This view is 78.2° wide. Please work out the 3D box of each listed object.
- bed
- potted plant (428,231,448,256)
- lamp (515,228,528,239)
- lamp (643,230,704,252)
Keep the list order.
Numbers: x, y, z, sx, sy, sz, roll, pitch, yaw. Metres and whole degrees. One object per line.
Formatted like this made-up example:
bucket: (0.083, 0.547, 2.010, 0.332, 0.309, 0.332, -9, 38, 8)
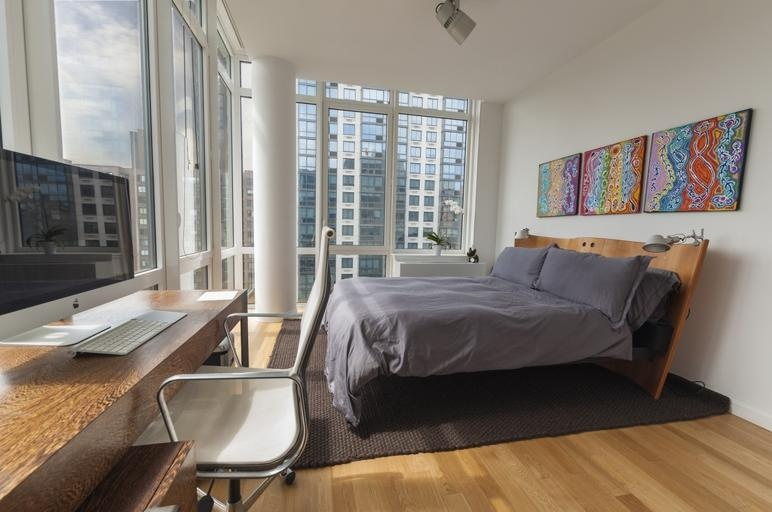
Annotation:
bed: (0.862, 0.473, 3.959, 2.036, 0.943, 1.852, 1, 1, -9)
potted plant: (0.707, -0.164, 6.438, 0.310, 0.326, 0.331, -2, 3, -23)
lamp: (1.588, -0.264, 5.546, 0.105, 0.111, 0.153, -2, -6, 19)
lamp: (2.250, -0.109, 3.784, 0.498, 0.200, 0.192, 1, 0, 3)
